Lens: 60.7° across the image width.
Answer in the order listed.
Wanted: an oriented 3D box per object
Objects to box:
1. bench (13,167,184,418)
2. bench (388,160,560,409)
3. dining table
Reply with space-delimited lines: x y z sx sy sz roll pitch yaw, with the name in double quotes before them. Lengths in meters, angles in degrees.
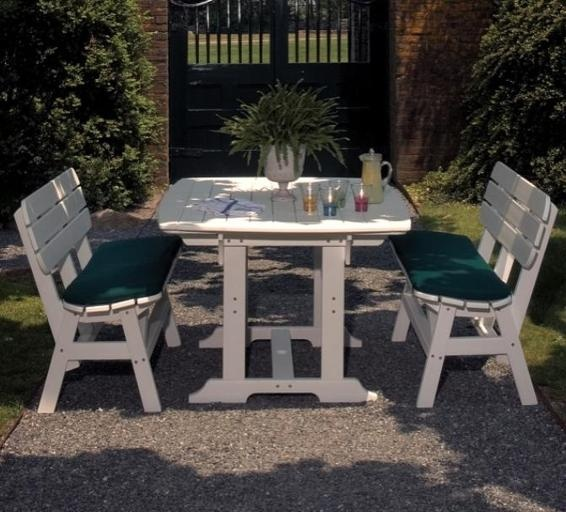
"bench" -0.964 0.111 2.691 0.659 0.953 1.129 1 16 -15
"bench" 1.207 0.176 2.985 0.865 1.246 1.654 0 19 6
"dining table" -0.041 -0.004 2.660 1.370 0.985 1.258 -1 23 -1
